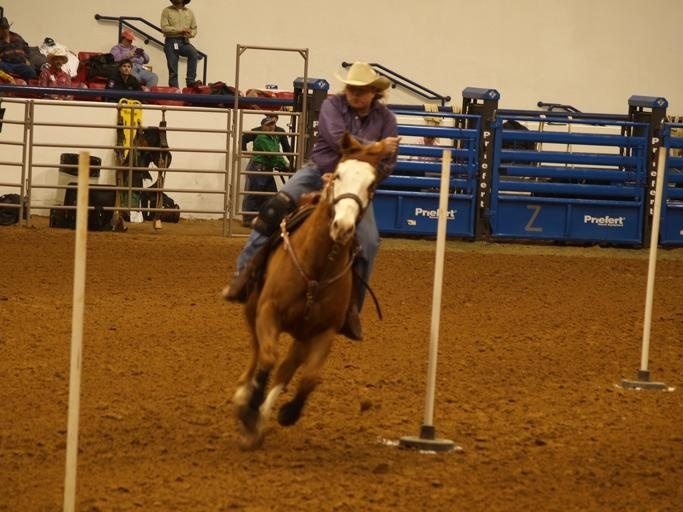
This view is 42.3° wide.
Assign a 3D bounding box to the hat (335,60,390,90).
[{"bbox_3d":[0.231,-1.593,7.750,0.411,0.231,0.243,3,5,-5],"label":"hat"}]

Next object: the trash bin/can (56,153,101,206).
[{"bbox_3d":[-4.823,-1.432,16.266,0.811,0.974,1.858,3,5,-17],"label":"trash bin/can"}]

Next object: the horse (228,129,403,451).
[{"bbox_3d":[-0.334,0.286,7.365,1.225,2.630,0.834,7,6,26],"label":"horse"}]
